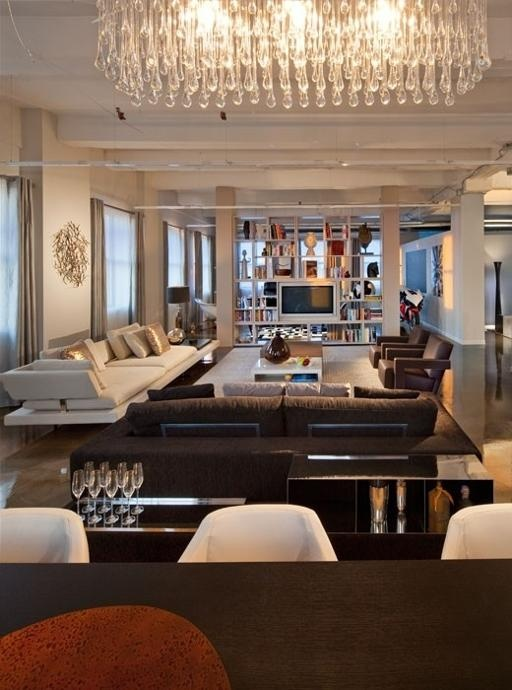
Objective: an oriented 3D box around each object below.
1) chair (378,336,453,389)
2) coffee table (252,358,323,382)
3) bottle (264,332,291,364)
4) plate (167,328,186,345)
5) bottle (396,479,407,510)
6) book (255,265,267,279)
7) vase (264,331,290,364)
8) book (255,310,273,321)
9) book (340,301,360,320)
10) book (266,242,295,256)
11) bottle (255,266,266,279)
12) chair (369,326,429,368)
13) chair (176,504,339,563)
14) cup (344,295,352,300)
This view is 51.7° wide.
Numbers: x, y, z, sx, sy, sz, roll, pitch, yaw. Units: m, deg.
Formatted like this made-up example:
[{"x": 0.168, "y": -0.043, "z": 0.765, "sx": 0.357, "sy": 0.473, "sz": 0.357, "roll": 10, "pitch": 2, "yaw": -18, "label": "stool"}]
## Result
[{"x": 2.115, "y": 0.295, "z": 6.980, "sx": 0.726, "sy": 0.704, "sz": 0.774, "roll": -2, "pitch": 5, "yaw": 2, "label": "chair"}, {"x": 0.454, "y": 0.338, "z": 7.440, "sx": 0.938, "sy": 0.384, "sz": 0.808, "roll": 0, "pitch": -8, "yaw": 4, "label": "coffee table"}, {"x": 0.327, "y": 0.017, "z": 7.675, "sx": 0.359, "sy": 0.530, "sz": 0.380, "roll": 2, "pitch": 10, "yaw": 0, "label": "bottle"}, {"x": -1.501, "y": -0.168, "z": 9.828, "sx": 0.303, "sy": 0.388, "sz": 0.328, "roll": 2, "pitch": -8, "yaw": 0, "label": "plate"}, {"x": 0.709, "y": 0.733, "z": 2.561, "sx": 0.043, "sy": 0.168, "sz": 0.168, "roll": -1, "pitch": -8, "yaw": 14, "label": "bottle"}, {"x": 0.128, "y": -1.676, "z": 12.161, "sx": 0.249, "sy": 0.380, "sz": 0.368, "roll": 0, "pitch": 16, "yaw": -1, "label": "book"}, {"x": 0.326, "y": 0.028, "z": 7.662, "sx": 0.361, "sy": 0.516, "sz": 0.373, "roll": 2, "pitch": 7, "yaw": -18, "label": "vase"}, {"x": 0.215, "y": -0.681, "z": 12.077, "sx": 0.434, "sy": 0.269, "sz": 0.130, "roll": 0, "pitch": -7, "yaw": 1, "label": "book"}, {"x": 2.201, "y": -0.770, "z": 12.228, "sx": 0.428, "sy": 0.519, "sz": 0.544, "roll": -1, "pitch": -8, "yaw": 12, "label": "book"}, {"x": 0.511, "y": -2.159, "z": 11.929, "sx": 0.629, "sy": 0.378, "sz": 0.106, "roll": 0, "pitch": -7, "yaw": 0, "label": "book"}, {"x": 0.120, "y": -1.671, "z": 12.126, "sx": 0.251, "sy": 0.369, "sz": 0.362, "roll": 1, "pitch": 7, "yaw": 4, "label": "bottle"}, {"x": 2.286, "y": 0.056, "z": 8.405, "sx": 0.835, "sy": 0.756, "sz": 0.902, "roll": 5, "pitch": 8, "yaw": 5, "label": "chair"}, {"x": 0.006, "y": 0.561, "z": 1.534, "sx": 0.402, "sy": 0.161, "sz": 0.319, "roll": 1, "pitch": -8, "yaw": -2, "label": "chair"}, {"x": 2.123, "y": -1.083, "z": 12.043, "sx": 0.156, "sy": 0.117, "sz": 0.105, "roll": 2, "pitch": 7, "yaw": 10, "label": "cup"}]
